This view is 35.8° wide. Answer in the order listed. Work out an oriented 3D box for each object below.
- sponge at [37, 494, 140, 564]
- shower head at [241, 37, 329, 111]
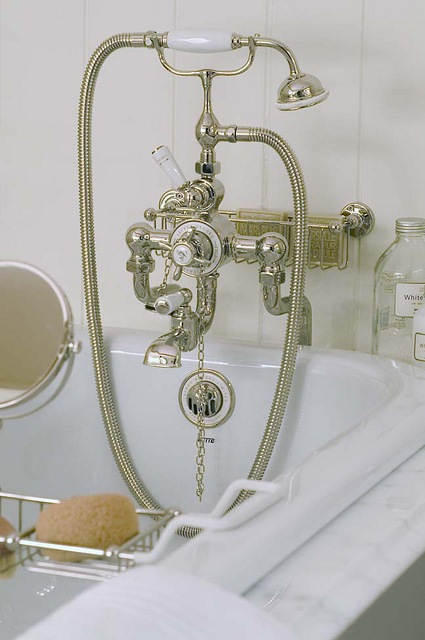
[{"bbox_3d":[-0.085,0.144,0.467,0.056,0.041,0.049,3,18,14],"label":"sponge"},{"bbox_3d":[0.092,-0.260,0.730,0.104,0.082,0.102,13,22,39],"label":"shower head"}]
